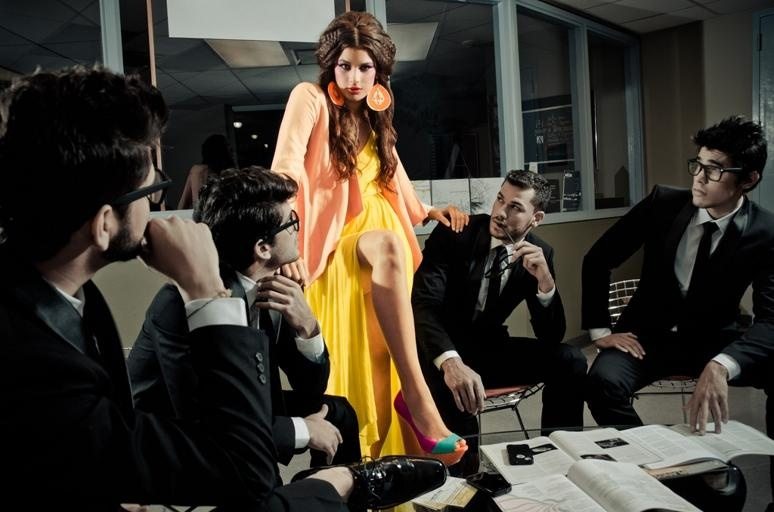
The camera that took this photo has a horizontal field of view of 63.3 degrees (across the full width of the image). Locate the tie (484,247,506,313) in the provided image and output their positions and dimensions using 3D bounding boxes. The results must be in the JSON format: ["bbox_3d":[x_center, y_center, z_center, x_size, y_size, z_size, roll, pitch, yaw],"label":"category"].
[{"bbox_3d":[0.522,0.115,3.085,0.076,0.350,0.080,8,5,-28],"label":"tie"}]

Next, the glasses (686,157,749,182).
[{"bbox_3d":[1.587,-0.424,3.080,0.149,0.121,0.259,-2,5,-33],"label":"glasses"}]

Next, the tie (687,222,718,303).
[{"bbox_3d":[1.547,0.038,3.088,0.099,0.397,0.062,8,-8,29],"label":"tie"}]

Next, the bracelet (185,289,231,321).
[{"bbox_3d":[-0.536,0.149,1.897,0.097,0.091,0.083,-12,-10,-15],"label":"bracelet"}]

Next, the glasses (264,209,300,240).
[{"bbox_3d":[-0.384,-0.091,2.265,0.107,0.035,0.105,-36,14,-15],"label":"glasses"}]

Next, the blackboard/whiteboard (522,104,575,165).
[{"bbox_3d":[1.317,-0.999,5.077,0.089,0.505,0.771,4,5,41],"label":"blackboard/whiteboard"}]
